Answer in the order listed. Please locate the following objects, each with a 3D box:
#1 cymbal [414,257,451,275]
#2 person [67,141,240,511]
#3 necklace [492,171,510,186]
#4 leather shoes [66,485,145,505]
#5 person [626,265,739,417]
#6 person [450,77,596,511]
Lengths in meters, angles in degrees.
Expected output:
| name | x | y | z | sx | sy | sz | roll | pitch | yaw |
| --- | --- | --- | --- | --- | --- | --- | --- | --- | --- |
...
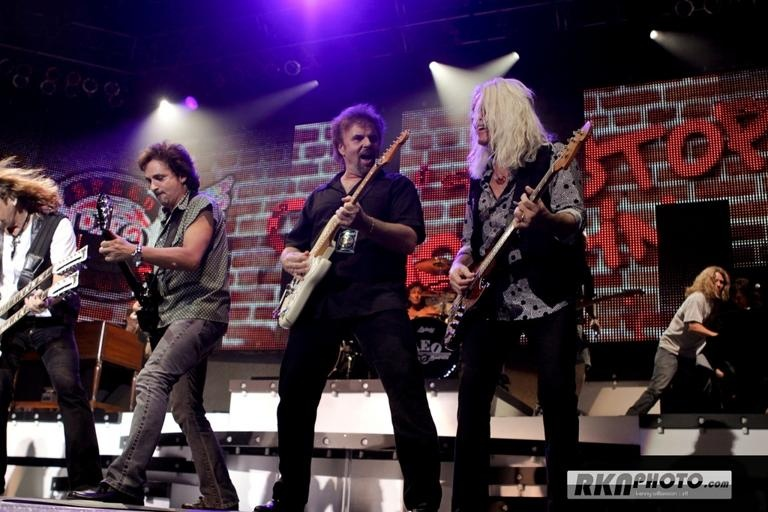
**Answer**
| name | x | y | z | sx | sy | sz | roll | pitch | yaw |
| --- | --- | --- | --- | --- | --- | --- | --- | --- | --- |
| cymbal | 0.656 | 0.142 | 8.558 | 0.280 | 0.134 | 0.276 | -5 | -33 | 16 |
| person | -1.506 | 0.417 | 4.773 | 1.030 | 2.754 | 0.554 | 7 | -15 | -23 |
| necklace | 0.786 | -0.530 | 4.432 | 0.095 | 0.092 | 0.023 | -4 | -27 | 27 |
| leather shoes | -1.783 | 1.542 | 4.240 | 0.477 | 0.118 | 0.172 | 17 | -26 | -21 |
| person | 3.434 | 0.940 | 7.567 | 1.272 | 1.727 | 0.637 | -2 | -14 | 11 |
| person | 0.852 | 0.136 | 4.201 | 0.891 | 2.881 | 0.646 | -3 | -14 | 17 |
